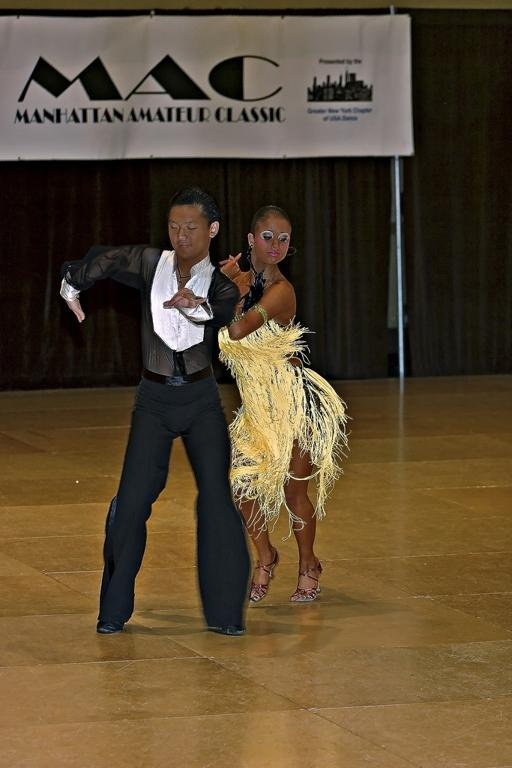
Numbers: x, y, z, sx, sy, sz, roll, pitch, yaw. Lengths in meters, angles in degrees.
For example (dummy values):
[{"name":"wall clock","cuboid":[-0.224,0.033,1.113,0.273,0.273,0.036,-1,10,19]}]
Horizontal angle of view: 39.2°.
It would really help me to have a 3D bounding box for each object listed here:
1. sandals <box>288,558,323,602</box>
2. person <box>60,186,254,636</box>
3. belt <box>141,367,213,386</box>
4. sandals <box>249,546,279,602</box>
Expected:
[{"name":"sandals","cuboid":[0.166,0.650,2.388,0.063,0.073,0.178,-6,2,14]},{"name":"person","cuboid":[-0.268,0.098,1.938,0.494,1.212,0.342,-1,9,-4]},{"name":"belt","cuboid":[-0.210,-0.018,1.891,0.173,0.040,0.074,-1,8,-8]},{"name":"sandals","cuboid":[0.020,0.630,2.380,0.069,0.173,0.046,13,-3,24]}]
